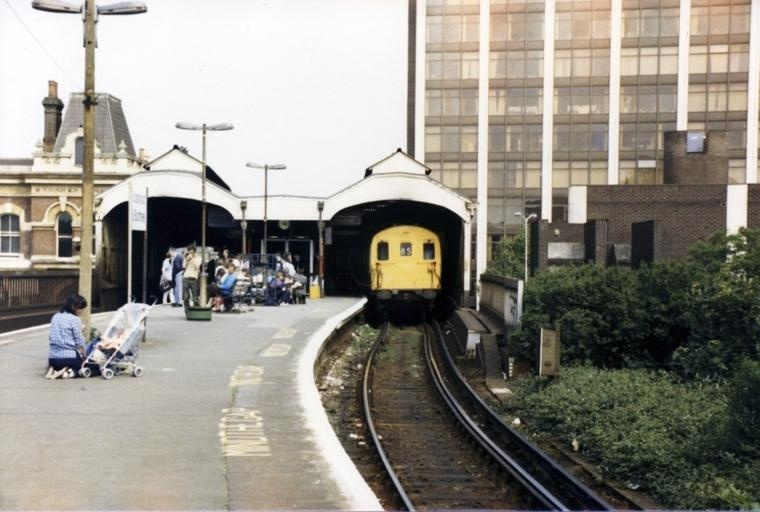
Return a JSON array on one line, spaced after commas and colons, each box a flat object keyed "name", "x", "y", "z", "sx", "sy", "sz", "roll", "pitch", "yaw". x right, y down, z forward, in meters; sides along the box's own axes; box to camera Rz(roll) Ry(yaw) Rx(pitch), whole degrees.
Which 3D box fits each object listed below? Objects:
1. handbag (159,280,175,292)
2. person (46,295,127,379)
[{"name": "handbag", "x": -9.533, "y": 1.277, "z": 48.026, "sx": 0.621, "sy": 0.459, "sz": 0.872, "roll": -3, "pitch": 1, "yaw": -1}, {"name": "person", "x": -9.702, "y": 2.499, "z": 34.106, "sx": 1.567, "sy": 2.140, "sz": 0.593, "roll": -1, "pitch": 0, "yaw": -18}]
